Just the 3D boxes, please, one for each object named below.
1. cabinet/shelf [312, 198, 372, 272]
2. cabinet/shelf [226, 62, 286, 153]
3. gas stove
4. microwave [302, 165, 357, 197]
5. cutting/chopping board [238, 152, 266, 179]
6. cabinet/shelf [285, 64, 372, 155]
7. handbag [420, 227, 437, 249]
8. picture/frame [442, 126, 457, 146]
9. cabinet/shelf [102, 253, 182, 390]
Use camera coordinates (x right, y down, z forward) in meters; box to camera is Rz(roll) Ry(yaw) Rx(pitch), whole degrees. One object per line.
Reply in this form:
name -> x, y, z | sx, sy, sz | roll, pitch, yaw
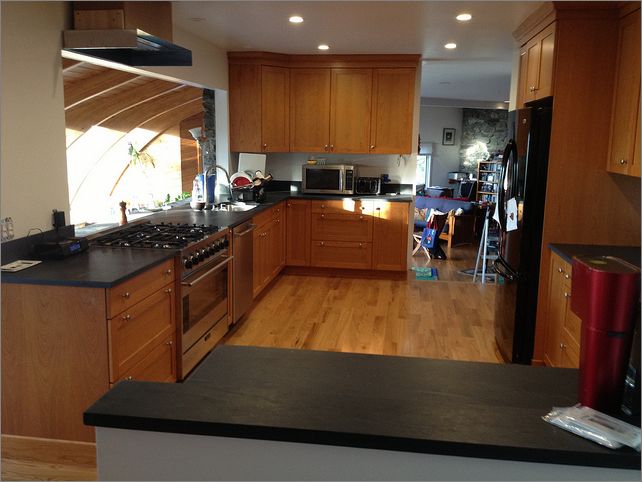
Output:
cabinet/shelf -> 0.284, -0.235, 6.371 | 0.812, 1.007, 0.735 | 1, 27, 1
cabinet/shelf -> -0.793, -1.698, 6.178 | 0.713, 1.104, 0.408 | -1, 6, -14
gas stove -> -1.276, -0.064, 3.702 | 0.805, 0.046, 0.914 | 3, 14, 10
microwave -> 0.089, -0.826, 6.446 | 0.667, 0.440, 0.419 | 2, 5, 2
cutting/chopping board -> -0.888, -0.959, 6.075 | 0.367, 0.368, 0.187 | -1, 4, -36
cabinet/shelf -> 0.149, -1.699, 6.286 | 1.075, 1.085, 0.377 | 3, 11, 10
handbag -> 1.792, -0.053, 7.916 | 0.304, 0.404, 0.151 | 5, -8, 27
picture/frame -> 3.905, -3.264, 14.644 | 0.522, 0.786, 0.062 | 1, 3, -1
cabinet/shelf -> -1.065, 0.447, 2.804 | 0.354, 0.795, 0.763 | 0, 7, 4
